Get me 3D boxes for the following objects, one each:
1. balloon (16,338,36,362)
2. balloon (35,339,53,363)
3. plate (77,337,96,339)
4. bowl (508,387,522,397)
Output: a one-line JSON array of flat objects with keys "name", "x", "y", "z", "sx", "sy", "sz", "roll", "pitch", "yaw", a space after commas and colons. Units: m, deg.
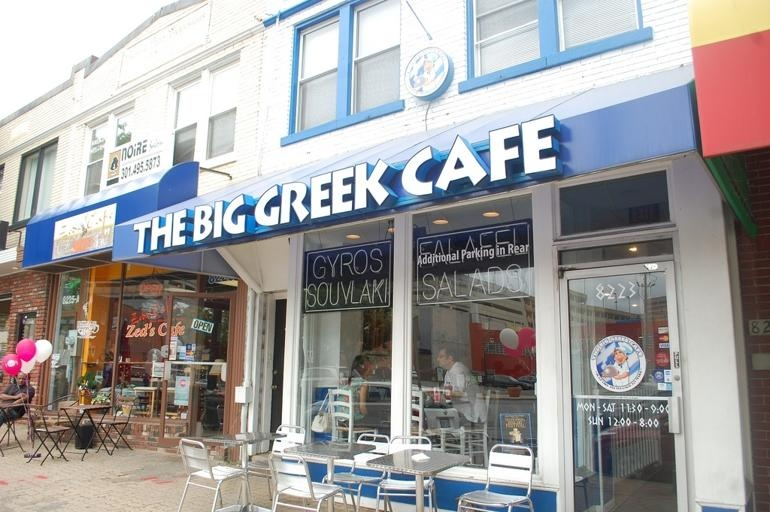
[{"name": "balloon", "x": -7.499, "y": 1.950, "z": 12.427, "sx": 0.338, "sy": 0.457, "sz": 0.421, "roll": 7, "pitch": -16, "yaw": -29}, {"name": "balloon", "x": -7.545, "y": 2.043, "z": 13.059, "sx": 0.252, "sy": 0.429, "sz": 0.624, "roll": 5, "pitch": -15, "yaw": -20}, {"name": "plate", "x": -7.064, "y": 1.932, "z": 14.126, "sx": 0.613, "sy": 0.081, "sz": 0.011, "roll": -9, "pitch": -16, "yaw": 30}, {"name": "bowl", "x": 1.809, "y": 1.890, "z": 8.260, "sx": 0.145, "sy": 0.091, "sz": 0.138, "roll": 0, "pitch": -10, "yaw": 0}]
